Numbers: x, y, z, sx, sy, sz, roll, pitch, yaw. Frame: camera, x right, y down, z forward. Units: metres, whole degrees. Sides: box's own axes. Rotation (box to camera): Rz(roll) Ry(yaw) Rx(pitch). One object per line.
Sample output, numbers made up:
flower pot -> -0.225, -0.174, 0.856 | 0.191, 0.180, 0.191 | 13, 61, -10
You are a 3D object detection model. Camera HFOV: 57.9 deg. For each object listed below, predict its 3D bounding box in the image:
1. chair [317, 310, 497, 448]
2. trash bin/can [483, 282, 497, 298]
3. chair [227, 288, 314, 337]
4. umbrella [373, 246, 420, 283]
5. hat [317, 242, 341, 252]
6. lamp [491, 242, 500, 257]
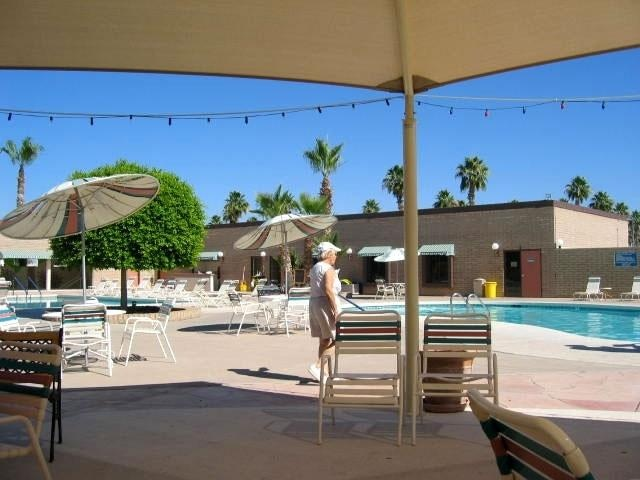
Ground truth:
chair -> 0.908, 1.348, 6.130 | 1.841, 0.878, 1.359 | -1, -2, -2
trash bin/can -> 8.208, 2.378, 27.739 | 0.675, 0.673, 0.662 | 1, -9, -10
chair -> -1.078, 1.832, 14.318 | 1.632, 0.757, 1.653 | -5, -6, 36
umbrella -> 2.767, 0.884, 21.942 | 1.824, 1.256, 1.791 | -1, -5, -2
hat -> 0.163, 0.109, 8.666 | 0.353, 0.132, 0.226 | -1, 2, -34
lamp -> 8.445, 0.444, 28.010 | 0.384, 0.543, 0.831 | -2, -2, 18
